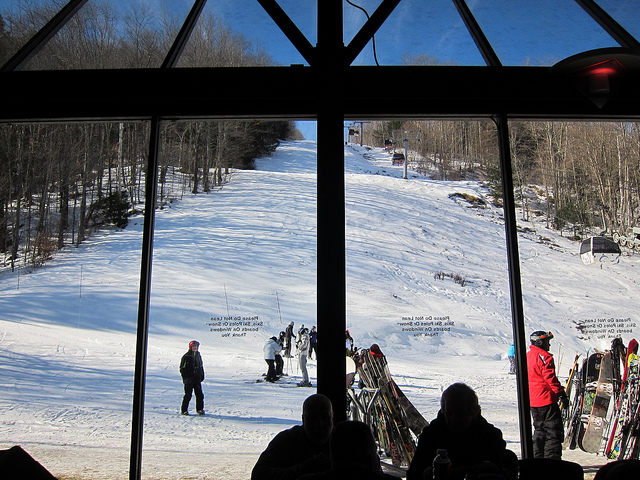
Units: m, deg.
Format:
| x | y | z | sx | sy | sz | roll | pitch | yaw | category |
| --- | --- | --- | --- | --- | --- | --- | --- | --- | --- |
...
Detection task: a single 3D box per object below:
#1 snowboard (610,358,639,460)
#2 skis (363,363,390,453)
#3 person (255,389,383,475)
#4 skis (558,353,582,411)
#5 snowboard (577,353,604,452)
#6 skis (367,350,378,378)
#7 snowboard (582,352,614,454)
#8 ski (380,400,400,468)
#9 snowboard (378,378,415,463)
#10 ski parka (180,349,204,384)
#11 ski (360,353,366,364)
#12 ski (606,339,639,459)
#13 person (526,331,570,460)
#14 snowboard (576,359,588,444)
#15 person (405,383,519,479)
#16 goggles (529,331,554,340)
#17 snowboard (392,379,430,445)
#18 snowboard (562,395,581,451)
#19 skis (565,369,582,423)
| x | y | z | sx | sy | sz | roll | pitch | yaw | category |
| --- | --- | --- | --- | --- | --- | --- | --- | --- | --- |
| 2.973 | 1.720 | 8.300 | 0.107 | 0.938 | 0.133 | 1 | -24 | 45 | snowboard |
| 0.543 | 1.704 | 8.715 | 0.174 | 1.013 | 0.075 | 13 | -38 | -30 | skis |
| 0.109 | 1.520 | 6.552 | 0.960 | 0.605 | 0.882 | -2 | -6 | 35 | person |
| 2.530 | 1.469 | 8.643 | 0.089 | 0.627 | 0.096 | 15 | 8 | -20 | skis |
| 2.816 | 1.626 | 8.781 | 0.278 | 1.183 | 0.172 | 1 | 23 | 5 | snowboard |
| 0.523 | 1.326 | 8.827 | 0.047 | 0.327 | 0.058 | -14 | -10 | -9 | skis |
| 2.822 | 1.704 | 8.629 | 0.273 | 1.100 | 0.161 | 10 | -26 | 18 | snowboard |
| 0.637 | 2.003 | 8.540 | 0.093 | 0.633 | 0.165 | 16 | -46 | -39 | ski |
| 0.743 | 1.861 | 8.768 | 0.076 | 1.073 | 0.257 | 13 | -56 | -34 | snowboard |
| -1.465 | 1.433 | 9.415 | 0.215 | 0.413 | 0.436 | 1 | -5 | -1 | ski parka |
| 0.420 | 1.245 | 8.813 | 0.060 | 0.097 | 0.026 | 5 | -7 | -35 | ski |
| 2.973 | 1.622 | 8.377 | 0.168 | 1.451 | 0.150 | 1 | -38 | 32 | ski |
| 2.205 | 1.535 | 8.289 | 0.387 | 1.252 | 0.298 | 1 | -6 | 2 | person |
| 2.660 | 1.632 | 8.704 | 0.120 | 0.966 | 0.140 | 1 | -27 | 14 | snowboard |
| 1.058 | 1.488 | 6.375 | 0.848 | 0.736 | 0.540 | 0 | -5 | 7 | person |
| 2.155 | 0.951 | 8.299 | 0.164 | 0.062 | 0.119 | -5 | 18 | -2 | goggles |
| 0.959 | 1.848 | 8.962 | 0.252 | 0.798 | 0.020 | -34 | 9 | -35 | snowboard |
| 2.572 | 1.889 | 8.621 | 0.113 | 0.518 | 0.328 | -4 | -7 | 42 | snowboard |
| 2.576 | 1.632 | 8.677 | 0.172 | 0.500 | 0.103 | 26 | -20 | -12 | skis |
